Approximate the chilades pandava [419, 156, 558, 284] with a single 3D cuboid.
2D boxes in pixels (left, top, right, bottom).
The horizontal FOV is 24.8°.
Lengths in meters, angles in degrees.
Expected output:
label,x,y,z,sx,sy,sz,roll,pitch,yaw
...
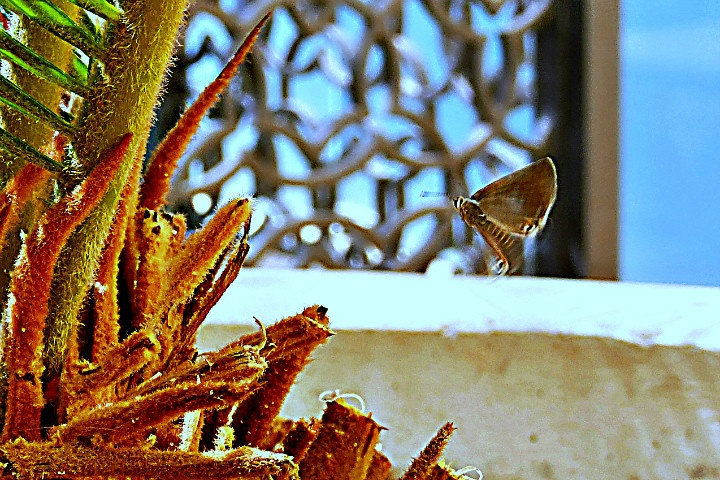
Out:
label,x,y,z,sx,sy,sz,roll,pitch,yaw
chilades pandava,0.144,0.003,1.787,0.101,0.150,0.070,14,78,5
